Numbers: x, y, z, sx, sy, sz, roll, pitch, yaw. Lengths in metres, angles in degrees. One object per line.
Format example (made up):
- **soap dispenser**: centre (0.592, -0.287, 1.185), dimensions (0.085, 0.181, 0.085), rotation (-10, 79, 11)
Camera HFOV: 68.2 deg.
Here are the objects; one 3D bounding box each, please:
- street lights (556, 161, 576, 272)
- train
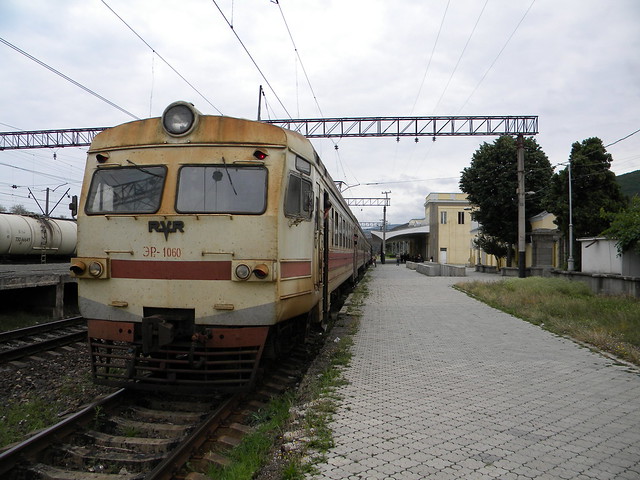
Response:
- **street lights**: centre (13.204, -1.156, 24.829), dimensions (0.591, 6.307, 0.606), rotation (-17, 25, -3)
- **train**: centre (-1.636, 0.164, 8.001), dimensions (1.975, 2.376, 8.392), rotation (-1, -3, 8)
